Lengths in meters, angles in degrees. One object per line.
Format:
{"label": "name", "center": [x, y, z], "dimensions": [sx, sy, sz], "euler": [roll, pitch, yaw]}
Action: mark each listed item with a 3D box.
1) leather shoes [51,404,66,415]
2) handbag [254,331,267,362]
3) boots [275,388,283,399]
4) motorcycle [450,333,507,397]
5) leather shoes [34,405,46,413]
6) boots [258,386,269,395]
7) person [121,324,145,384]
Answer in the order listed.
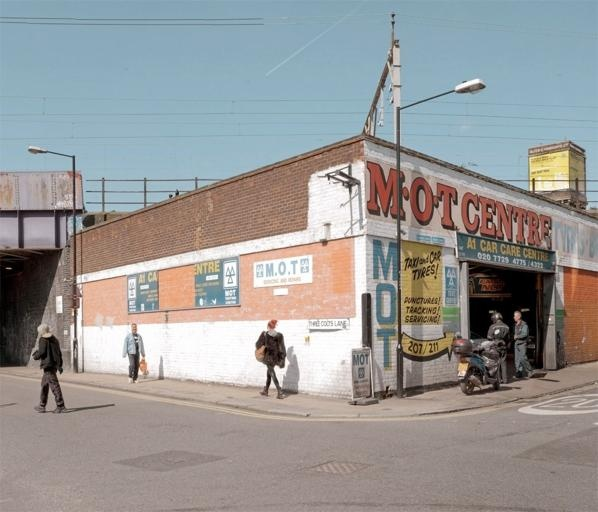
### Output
{"label": "leather shoes", "center": [-5.490, 3.492, 20.027], "dimensions": [0.305, 0.245, 0.133], "euler": [3, -2, -8]}
{"label": "handbag", "center": [-0.977, 2.338, 22.339], "dimensions": [0.260, 0.805, 0.349], "euler": [-1, 1, -2]}
{"label": "boots", "center": [-0.474, 3.477, 22.240], "dimensions": [0.163, 0.250, 0.480], "euler": [-1, 1, -1]}
{"label": "motorcycle", "center": [4.692, 2.816, 22.624], "dimensions": [0.986, 1.520, 2.423], "euler": [-5, -3, 37]}
{"label": "leather shoes", "center": [-5.895, 3.506, 20.041], "dimensions": [0.118, 0.127, 0.253], "euler": [4, -1, -40]}
{"label": "boots", "center": [-0.910, 3.519, 22.700], "dimensions": [0.135, 0.301, 0.285], "euler": [3, 1, -20]}
{"label": "person", "center": [-5.063, 2.958, 26.838], "dimensions": [0.587, 1.750, 1.043], "euler": [-1, 1, -12]}
